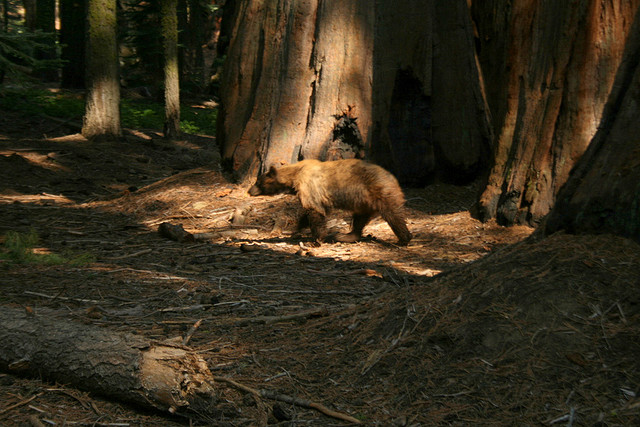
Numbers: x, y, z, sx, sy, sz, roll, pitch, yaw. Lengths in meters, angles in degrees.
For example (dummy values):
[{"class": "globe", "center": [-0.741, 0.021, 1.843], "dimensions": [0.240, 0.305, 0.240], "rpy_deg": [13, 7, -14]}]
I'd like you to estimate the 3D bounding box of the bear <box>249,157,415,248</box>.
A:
[{"class": "bear", "center": [0.260, -0.125, 11.181], "dimensions": [3.210, 1.325, 0.989], "rpy_deg": [3, -3, 27]}]
